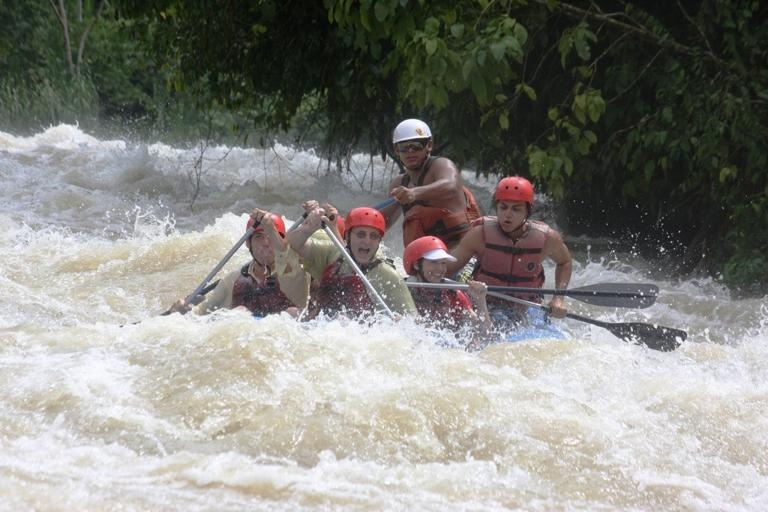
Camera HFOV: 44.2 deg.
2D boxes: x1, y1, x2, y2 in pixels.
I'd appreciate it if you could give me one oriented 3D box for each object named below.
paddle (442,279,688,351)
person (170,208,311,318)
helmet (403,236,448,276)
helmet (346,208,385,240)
[{"bbox_3d":[1.959,0.674,10.589,2.867,0.329,0.129,12,24,30],"label":"paddle"},{"bbox_3d":[-1.712,0.123,11.335,1.056,1.541,0.896,4,-21,23],"label":"person"},{"bbox_3d":[0.434,-0.042,10.233,0.453,0.249,0.337,-24,-20,32],"label":"helmet"},{"bbox_3d":[-0.189,-0.379,10.235,0.253,0.392,0.280,8,-4,-5],"label":"helmet"}]
